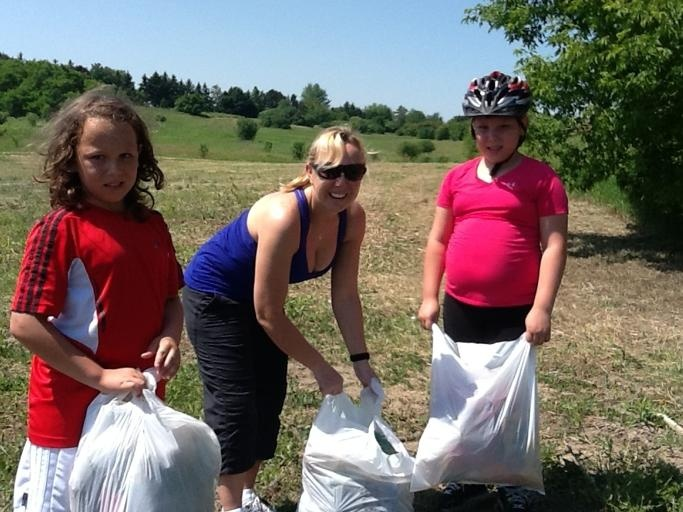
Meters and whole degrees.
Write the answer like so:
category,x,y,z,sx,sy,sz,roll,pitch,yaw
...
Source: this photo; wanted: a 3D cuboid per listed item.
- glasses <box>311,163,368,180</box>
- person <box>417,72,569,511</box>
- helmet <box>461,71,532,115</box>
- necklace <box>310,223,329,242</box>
category,x,y,z,sx,sy,sz,roll,pitch,yaw
glasses,-0.005,-0.488,3.853,0.326,0.108,0.154,2,9,-11
person,1.000,-0.288,4.341,0.925,1.783,0.460,6,9,21
helmet,1.031,-1.099,4.408,0.419,0.286,0.632,-2,18,16
necklace,-0.138,-0.140,3.919,0.068,0.110,0.033,-7,23,-29
